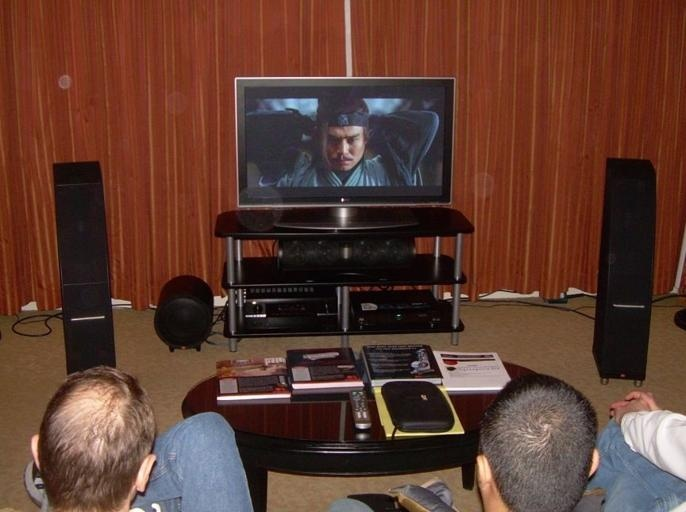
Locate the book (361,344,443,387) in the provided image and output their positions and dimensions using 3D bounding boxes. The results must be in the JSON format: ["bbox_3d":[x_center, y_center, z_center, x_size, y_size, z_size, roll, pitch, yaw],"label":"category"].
[{"bbox_3d":[0.241,0.478,2.586,0.358,0.062,0.356,5,22,16],"label":"book"}]

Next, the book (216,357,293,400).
[{"bbox_3d":[-0.380,0.531,2.508,0.326,0.073,0.347,4,17,-2],"label":"book"}]

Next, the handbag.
[{"bbox_3d":[0.286,0.578,2.279,0.274,0.080,0.350,-4,20,-14],"label":"handbag"}]

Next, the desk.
[{"bbox_3d":[0.002,0.146,3.718,1.511,0.775,0.617,-1,16,-6],"label":"desk"}]

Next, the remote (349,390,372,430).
[{"bbox_3d":[0.062,0.577,2.260,0.066,0.030,0.221,-1,21,-6],"label":"remote"}]

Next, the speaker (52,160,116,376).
[{"bbox_3d":[-1.300,0.061,2.978,0.240,1.027,0.265,-5,8,-21],"label":"speaker"}]

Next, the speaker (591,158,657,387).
[{"bbox_3d":[1.540,0.102,3.266,0.283,1.256,0.264,1,8,23],"label":"speaker"}]

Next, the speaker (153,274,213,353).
[{"bbox_3d":[-1.042,0.400,3.768,0.338,0.406,0.472,19,-10,-15],"label":"speaker"}]

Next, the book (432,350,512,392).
[{"bbox_3d":[0.548,0.514,2.599,0.332,0.077,0.351,-3,16,0],"label":"book"}]
